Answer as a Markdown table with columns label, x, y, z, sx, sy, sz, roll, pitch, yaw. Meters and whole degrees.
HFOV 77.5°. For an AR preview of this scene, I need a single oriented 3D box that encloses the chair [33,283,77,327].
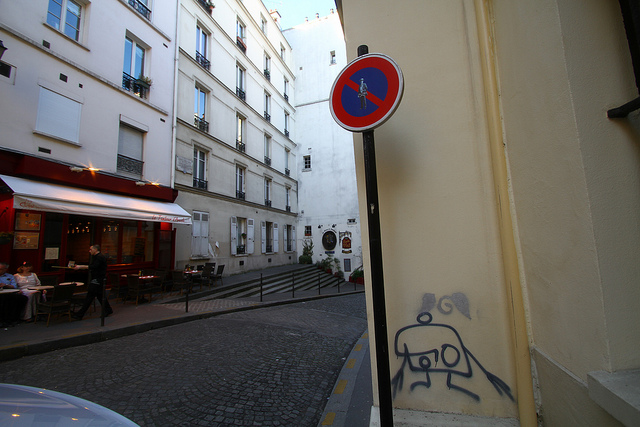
| label | x | y | z | sx | sy | sz | roll | pitch | yaw |
| --- | --- | --- | --- | --- | --- | --- | --- | --- | --- |
| chair | -6.301 | 2.127 | 9.505 | 0.823 | 0.645 | 0.677 | 1 | -2 | 29 |

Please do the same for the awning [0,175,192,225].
| label | x | y | z | sx | sy | sz | roll | pitch | yaw |
| --- | --- | --- | --- | --- | --- | --- | --- | --- | --- |
| awning | -6.698 | -0.295 | 13.202 | 1.391 | 0.841 | 6.534 | 1 | -1 | 23 |

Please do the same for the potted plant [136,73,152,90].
| label | x | y | z | sx | sy | sz | roll | pitch | yaw |
| --- | --- | --- | --- | --- | --- | --- | --- | --- | --- |
| potted plant | -6.520 | -4.926 | 14.933 | 0.297 | 0.486 | 0.573 | 2 | -2 | 2 |

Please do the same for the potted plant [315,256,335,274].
| label | x | y | z | sx | sy | sz | roll | pitch | yaw |
| --- | --- | --- | --- | --- | --- | --- | --- | --- | --- |
| potted plant | 0.386 | 3.237 | 24.916 | 0.826 | 0.952 | 0.773 | 2 | -5 | -39 |

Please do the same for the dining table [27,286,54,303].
| label | x | y | z | sx | sy | sz | roll | pitch | yaw |
| --- | --- | --- | --- | --- | --- | --- | --- | --- | --- |
| dining table | -6.866 | 1.983 | 9.834 | 0.530 | 0.402 | 0.542 | 4 | 8 | -24 |

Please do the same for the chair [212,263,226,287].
| label | x | y | z | sx | sy | sz | roll | pitch | yaw |
| --- | --- | --- | --- | --- | --- | --- | --- | --- | --- |
| chair | -3.904 | 2.408 | 15.589 | 0.677 | 1.074 | 0.603 | 3 | -6 | -24 |

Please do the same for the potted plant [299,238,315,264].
| label | x | y | z | sx | sy | sz | roll | pitch | yaw |
| --- | --- | --- | --- | --- | --- | --- | --- | --- | --- |
| potted plant | -0.823 | 2.520 | 26.690 | 0.937 | 1.527 | 1.468 | 2 | -2 | 3 |
